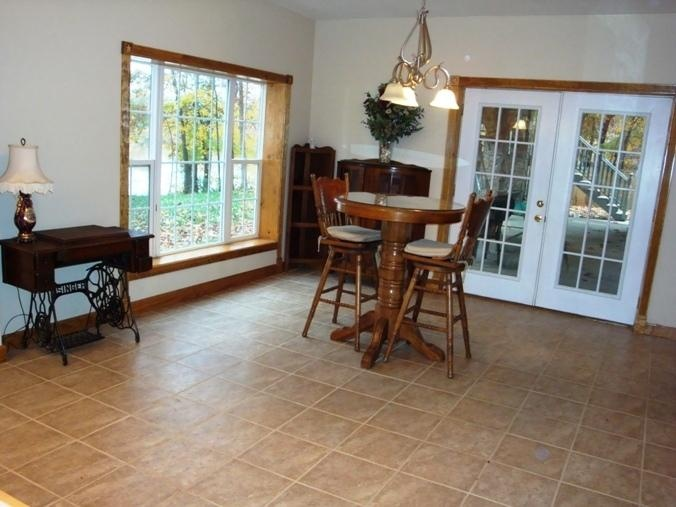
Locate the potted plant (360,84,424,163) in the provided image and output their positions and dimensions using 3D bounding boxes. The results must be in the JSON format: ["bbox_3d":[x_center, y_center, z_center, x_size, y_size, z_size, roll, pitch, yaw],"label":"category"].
[{"bbox_3d":[0.732,-1.492,5.969,0.844,1.098,1.104,3,18,-1],"label":"potted plant"}]

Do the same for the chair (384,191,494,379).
[{"bbox_3d":[0.463,0.198,4.170,1.096,1.274,1.090,-4,11,-32],"label":"chair"}]

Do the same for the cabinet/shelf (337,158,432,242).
[{"bbox_3d":[0.436,-0.528,4.696,0.996,0.967,0.354,5,12,18],"label":"cabinet/shelf"}]

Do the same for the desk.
[{"bbox_3d":[0.443,0.121,4.447,1.378,1.537,1.323,10,18,24],"label":"desk"}]
